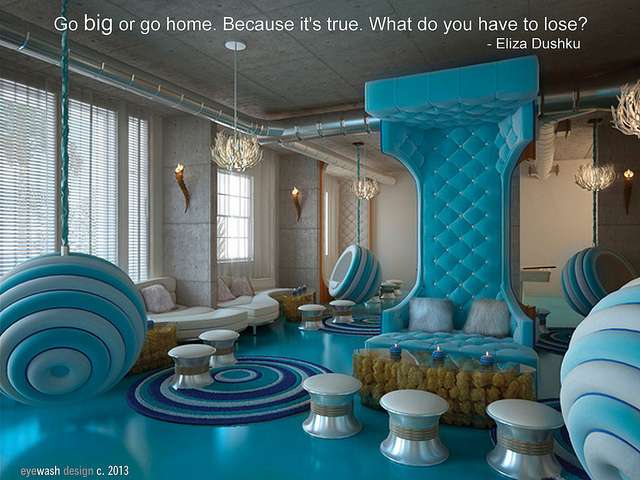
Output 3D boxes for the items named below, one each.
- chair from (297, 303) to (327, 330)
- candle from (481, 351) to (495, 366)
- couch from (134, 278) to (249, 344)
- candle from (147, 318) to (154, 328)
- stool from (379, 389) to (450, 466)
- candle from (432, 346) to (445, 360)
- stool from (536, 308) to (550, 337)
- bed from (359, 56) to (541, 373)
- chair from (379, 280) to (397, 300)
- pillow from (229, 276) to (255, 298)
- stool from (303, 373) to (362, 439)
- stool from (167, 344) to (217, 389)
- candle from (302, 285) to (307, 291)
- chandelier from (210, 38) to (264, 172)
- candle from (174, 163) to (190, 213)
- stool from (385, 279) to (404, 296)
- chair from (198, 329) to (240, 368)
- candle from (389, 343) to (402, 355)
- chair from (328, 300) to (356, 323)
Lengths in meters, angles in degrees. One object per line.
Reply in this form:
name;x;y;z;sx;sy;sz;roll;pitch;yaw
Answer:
chair;-0.150;1.293;7.818;0.443;0.322;0.393;0;-4;-2
candle;1.541;1.091;4.168;0.090;0.089;0.091;-2;-3;19
couch;-2.011;1.086;6.768;1.285;0.689;1.248;-3;-5;27
candle;-2.200;1.069;5.879;0.093;0.095;0.106;0;-9;-7
stool;0.773;1.518;3.721;0.555;0.442;0.402;1;6;7
candle;1.130;1.081;4.368;0.088;0.082;0.088;-1;-3;10
stool;3.547;1.264;7.251;0.176;0.400;0.817;3;6;26
bed;1.480;-0.431;5.289;1.999;3.126;1.504;5;7;36
chair;1.667;1.222;11.113;0.385;0.323;0.387;-2;-4;19
pillow;-1.514;0.882;8.750;0.114;0.360;0.388;-31;-20;29
stool;0.120;1.478;4.173;0.557;0.416;0.539;-1;1;-30
stool;-1.412;1.389;5.037;0.484;0.404;0.312;-1;6;-19
candle;-0.307;0.948;9.141;0.058;0.119;0.100;-1;-5;-22
chandelier;-1.201;-1.695;6.253;0.793;1.454;0.812;0;0;22
candle;-2.310;-0.870;7.697;0.212;0.800;0.128;-1;6;-11
stool;1.948;1.216;11.814;0.393;0.335;0.394;-2;-3;13
chair;-1.221;1.301;5.654;0.438;0.376;0.447;-1;0;43
candle;0.748;1.072;4.479;0.081;0.069;0.081;-2;-3;17
chair;0.419;1.296;8.384;0.459;0.331;0.409;0;-6;0
